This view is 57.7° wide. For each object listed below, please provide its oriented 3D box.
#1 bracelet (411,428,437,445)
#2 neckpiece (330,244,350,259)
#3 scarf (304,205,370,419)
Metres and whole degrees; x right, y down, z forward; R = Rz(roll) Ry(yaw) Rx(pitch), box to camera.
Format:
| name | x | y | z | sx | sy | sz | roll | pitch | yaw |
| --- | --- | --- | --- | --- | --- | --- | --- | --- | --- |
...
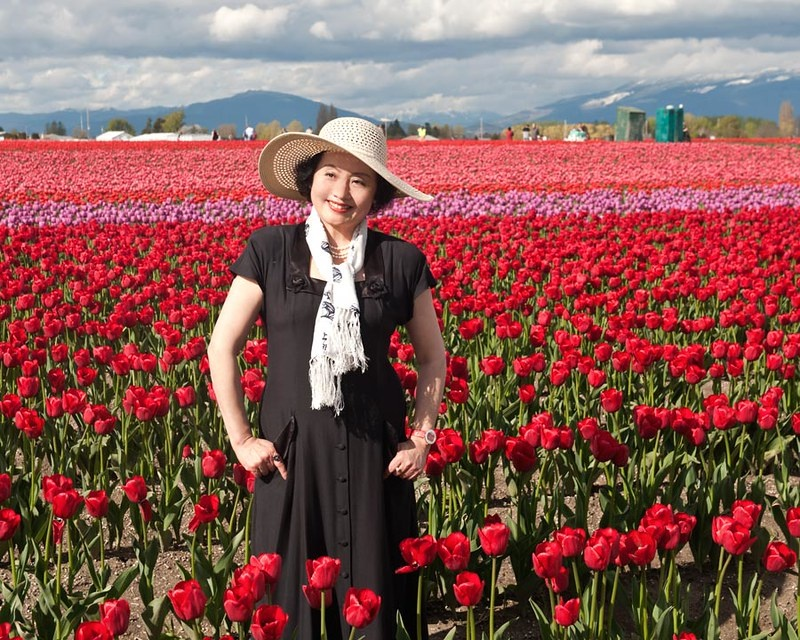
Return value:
| name | x | y | z | sx | sy | sz | roll | pitch | yaw |
| --- | --- | --- | --- | --- | --- | --- | --- | --- | --- |
| bracelet | 0.085 | 0.436 | 2.699 | 0.083 | 0.062 | 0.086 | 17 | -18 | -26 |
| neckpiece | -0.220 | -0.245 | 2.637 | 0.044 | 0.027 | 0.065 | -1 | 47 | 2 |
| scarf | -0.216 | -0.044 | 2.590 | 0.222 | 0.684 | 0.259 | -4 | 8 | -2 |
